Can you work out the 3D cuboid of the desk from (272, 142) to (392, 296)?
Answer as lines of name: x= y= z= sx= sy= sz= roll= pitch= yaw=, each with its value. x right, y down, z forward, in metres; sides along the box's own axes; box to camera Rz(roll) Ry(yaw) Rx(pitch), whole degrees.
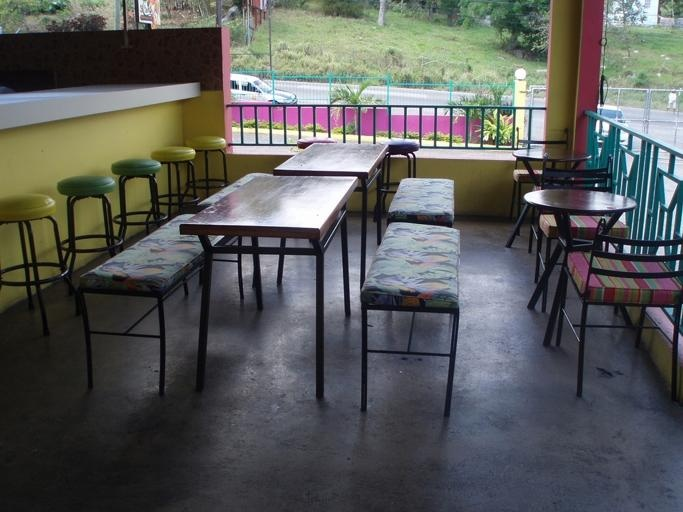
desk: x=-0.069 y=-0.239 z=3.739 sx=0.626 sy=0.647 sz=1.320 roll=5 pitch=29 yaw=9

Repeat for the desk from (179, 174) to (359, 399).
desk: x=-0.314 y=0.069 z=3.473 sx=0.835 sy=0.929 sz=1.926 roll=2 pitch=16 yaw=11

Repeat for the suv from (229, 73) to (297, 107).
suv: x=-2.991 y=-5.972 z=19.330 sx=1.812 sy=0.891 sz=3.102 roll=-8 pitch=20 yaw=-29

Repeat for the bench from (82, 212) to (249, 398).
bench: x=-1.032 y=0.327 z=3.215 sx=0.332 sy=0.444 sz=0.989 roll=7 pitch=20 yaw=6

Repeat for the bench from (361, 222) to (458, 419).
bench: x=0.378 y=0.374 z=2.932 sx=0.330 sy=0.426 sz=0.928 roll=3 pitch=20 yaw=8

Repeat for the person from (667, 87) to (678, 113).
person: x=14.235 y=-6.670 z=23.280 sx=0.253 sy=0.784 sz=2.940 roll=11 pitch=20 yaw=27
